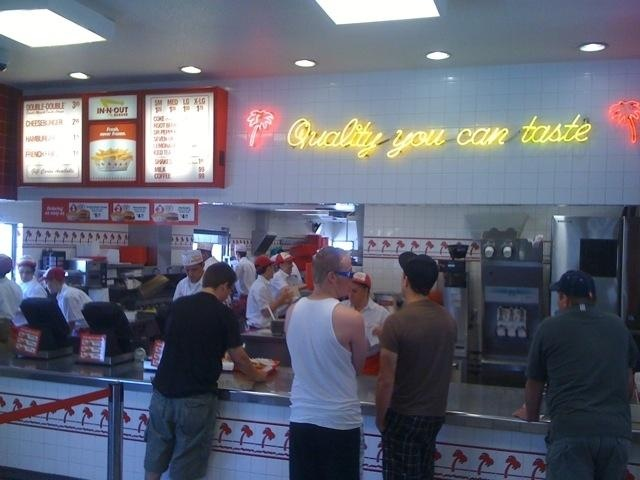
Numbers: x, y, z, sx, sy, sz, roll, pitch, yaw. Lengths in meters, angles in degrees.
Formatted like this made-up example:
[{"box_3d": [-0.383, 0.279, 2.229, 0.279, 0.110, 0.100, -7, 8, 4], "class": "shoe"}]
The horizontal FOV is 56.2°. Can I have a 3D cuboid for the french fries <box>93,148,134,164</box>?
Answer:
[{"box_3d": [-2.125, -0.854, 6.165, 0.248, 0.125, 0.246, 0, -5, -17], "class": "french fries"}]

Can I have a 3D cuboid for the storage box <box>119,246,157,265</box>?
[{"box_3d": [-2.823, 0.248, 9.241, 0.663, 0.286, 0.241, 1, 1, 15], "class": "storage box"}]

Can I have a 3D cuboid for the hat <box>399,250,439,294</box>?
[{"box_3d": [0.624, 0.204, 3.803, 0.205, 0.298, 0.162, -3, -30, -19], "class": "hat"}]

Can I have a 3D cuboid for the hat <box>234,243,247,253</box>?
[{"box_3d": [-1.448, 0.161, 11.083, 0.198, 0.253, 0.252, 4, -8, -37], "class": "hat"}]

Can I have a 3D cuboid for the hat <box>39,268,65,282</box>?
[{"box_3d": [-2.877, 0.366, 6.391, 0.254, 0.143, 0.173, 0, 4, 21], "class": "hat"}]

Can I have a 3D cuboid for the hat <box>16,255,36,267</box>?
[{"box_3d": [-3.291, 0.249, 6.751, 0.187, 0.089, 0.225, -1, -2, -12], "class": "hat"}]

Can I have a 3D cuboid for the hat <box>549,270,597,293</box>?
[{"box_3d": [1.535, 0.250, 3.664, 0.136, 0.104, 0.184, -2, 2, -23], "class": "hat"}]
